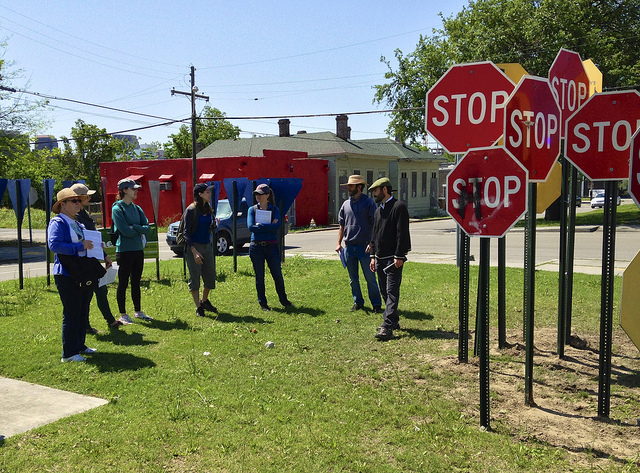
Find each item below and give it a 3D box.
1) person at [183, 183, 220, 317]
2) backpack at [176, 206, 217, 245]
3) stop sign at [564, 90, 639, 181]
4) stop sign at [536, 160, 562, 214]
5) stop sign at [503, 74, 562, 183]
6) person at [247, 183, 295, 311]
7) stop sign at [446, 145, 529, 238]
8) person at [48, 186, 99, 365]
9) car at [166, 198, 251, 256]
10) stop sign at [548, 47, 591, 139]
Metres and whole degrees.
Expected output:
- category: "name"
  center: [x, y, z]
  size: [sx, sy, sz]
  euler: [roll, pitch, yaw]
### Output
- category: "person"
  center: [-1.967, 0.203, 11.446]
  size: [0.448, 2.155, 0.736]
  euler: [6, 14, 30]
- category: "backpack"
  center: [-2.116, -0.112, 11.418]
  size: [0.359, 0.600, 0.583]
  euler: [0, -2, 33]
- category: "stop sign"
  center: [3.248, -1.151, 7.789]
  size: [1.215, 1.289, 0.055]
  euler: [2, 3, 41]
- category: "stop sign"
  center: [3.208, -0.638, 9.474]
  size: [0.183, 0.758, 0.684]
  euler: [17, 56, 16]
- category: "stop sign"
  center: [2.400, -1.221, 7.724]
  size: [0.112, 1.511, 1.277]
  euler: [2, 5, 43]
- category: "person"
  center: [-0.884, 0.177, 11.964]
  size: [0.680, 2.185, 1.108]
  euler: [-2, 12, -5]
- category: "stop sign"
  center: [1.891, -0.532, 7.636]
  size: [1.030, 1.270, 0.146]
  euler: [2, 4, 37]
- category: "person"
  center: [-3.361, 0.528, 9.325]
  size: [0.569, 2.247, 0.961]
  euler: [-6, 13, -22]
- category: "car"
  center: [-2.897, -0.176, 20.129]
  size: [1.639, 1.554, 2.992]
  euler: [1, 2, 32]
- category: "stop sign"
  center: [3.154, -1.765, 8.581]
  size: [0.032, 1.593, 1.298]
  euler: [3, 14, 37]
